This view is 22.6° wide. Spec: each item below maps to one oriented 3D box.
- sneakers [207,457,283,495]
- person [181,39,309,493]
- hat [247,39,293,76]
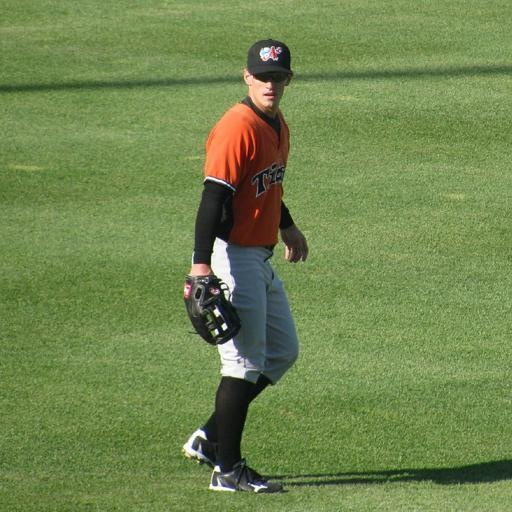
[{"bbox_3d":[-0.062,1.228,7.216,0.409,0.213,0.169,1,-1,4],"label":"sneakers"},{"bbox_3d":[-0.047,0.082,7.129,0.677,2.178,1.232,7,30,-3],"label":"person"},{"bbox_3d":[0.069,-1.094,7.117,0.235,0.208,0.363,7,11,-8],"label":"hat"}]
